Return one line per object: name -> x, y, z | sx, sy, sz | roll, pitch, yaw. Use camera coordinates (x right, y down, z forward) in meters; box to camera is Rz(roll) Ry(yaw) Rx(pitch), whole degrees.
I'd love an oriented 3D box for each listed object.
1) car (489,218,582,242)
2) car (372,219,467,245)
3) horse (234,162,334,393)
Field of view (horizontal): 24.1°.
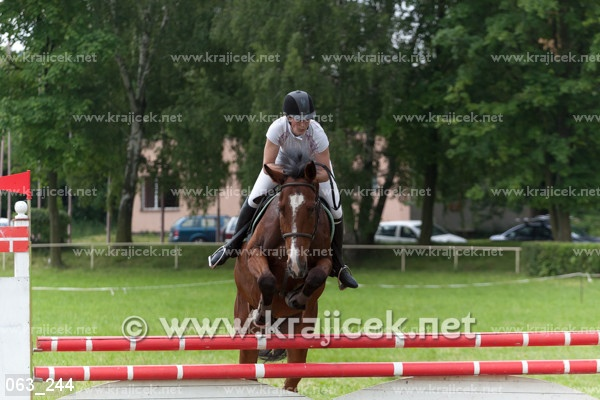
car -> 5.824, 0.611, 35.175 | 2.904, 0.797, 1.428 | 0, -5, 7
car -> 3.133, 0.912, 37.986 | 2.093, 0.678, 0.982 | -3, -3, 26
horse -> -0.334, 1.468, 27.460 | 2.244, 4.037, 3.071 | 0, -1, -2
